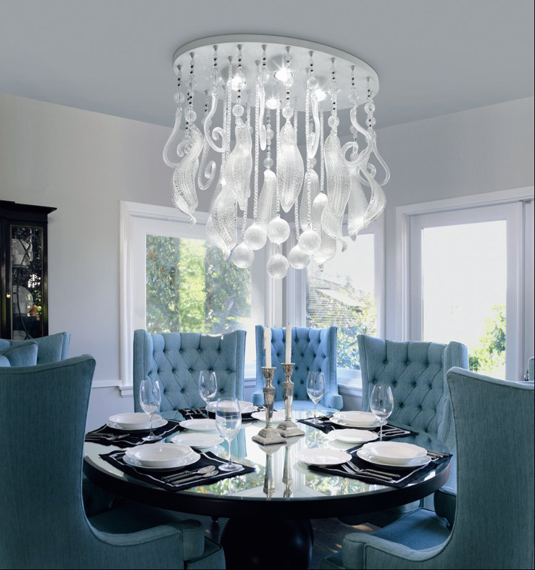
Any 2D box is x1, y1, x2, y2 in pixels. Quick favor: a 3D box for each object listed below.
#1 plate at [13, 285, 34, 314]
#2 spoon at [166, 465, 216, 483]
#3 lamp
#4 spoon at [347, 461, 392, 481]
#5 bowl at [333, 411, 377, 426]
[{"bbox_3d":[-1.455,0.084,3.701,0.096,0.157,0.129,8,-18,-37],"label":"plate"},{"bbox_3d":[-0.227,0.582,1.965,0.042,0.022,0.141,12,13,39],"label":"spoon"},{"bbox_3d":[0.045,-0.721,3.578,1.216,1.115,1.990,2,8,-1],"label":"lamp"},{"bbox_3d":[0.328,0.598,2.017,0.154,0.032,0.044,7,19,38],"label":"spoon"},{"bbox_3d":[0.375,0.568,2.646,0.099,0.031,0.104,-2,3,0],"label":"bowl"}]
